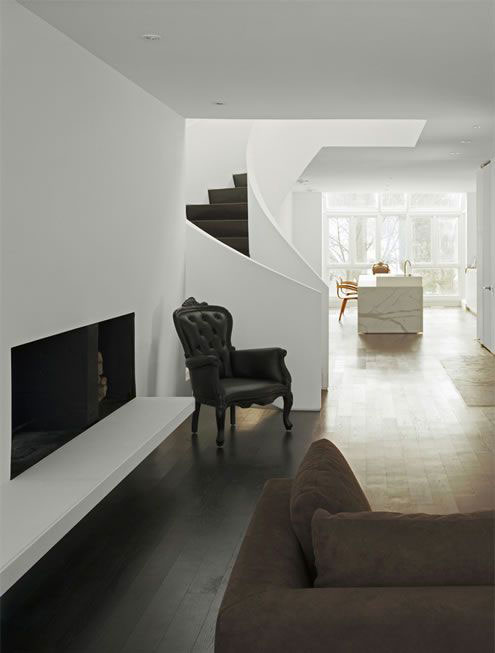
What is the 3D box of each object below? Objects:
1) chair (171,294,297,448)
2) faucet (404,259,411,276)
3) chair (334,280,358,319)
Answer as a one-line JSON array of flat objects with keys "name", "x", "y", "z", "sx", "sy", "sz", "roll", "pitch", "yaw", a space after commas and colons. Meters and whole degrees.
[{"name": "chair", "x": -0.179, "y": 0.340, "z": 4.164, "sx": 0.814, "sy": 1.158, "sz": 0.924, "roll": 0, "pitch": 2, "yaw": 38}, {"name": "faucet", "x": 4.671, "y": -1.745, "z": 14.441, "sx": 0.223, "sy": 0.375, "sz": 0.623, "roll": 2, "pitch": 7, "yaw": 18}, {"name": "chair", "x": 2.572, "y": -0.681, "z": 12.931, "sx": 0.823, "sy": 1.166, "sz": 1.008, "roll": -1, "pitch": 9, "yaw": 6}]
